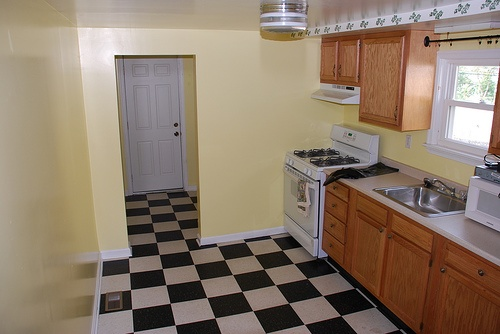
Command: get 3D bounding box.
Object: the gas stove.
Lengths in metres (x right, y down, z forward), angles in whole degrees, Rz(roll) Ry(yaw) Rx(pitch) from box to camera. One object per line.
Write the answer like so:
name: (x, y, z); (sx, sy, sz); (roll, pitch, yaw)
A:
gas stove: (0.967, -0.091, 4.408); (0.874, 0.402, 1.166); (-9, 12, -17)

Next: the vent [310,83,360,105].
vent: (0.998, -0.882, 4.148); (0.228, 0.215, 0.811); (-8, 20, -16)

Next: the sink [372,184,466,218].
sink: (1.732, 0.312, 3.307); (0.394, 0.141, 0.400); (-6, 15, -21)

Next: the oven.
oven: (0.669, 0.399, 4.196); (0.560, 0.763, 0.811); (-3, 15, -16)

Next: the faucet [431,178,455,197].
faucet: (1.877, 0.179, 3.309); (0.223, 0.114, 0.173); (15, 26, 41)

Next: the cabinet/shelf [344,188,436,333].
cabinet/shelf: (1.319, 0.866, 3.175); (0.587, 1.020, 1.107); (-3, 15, -17)
